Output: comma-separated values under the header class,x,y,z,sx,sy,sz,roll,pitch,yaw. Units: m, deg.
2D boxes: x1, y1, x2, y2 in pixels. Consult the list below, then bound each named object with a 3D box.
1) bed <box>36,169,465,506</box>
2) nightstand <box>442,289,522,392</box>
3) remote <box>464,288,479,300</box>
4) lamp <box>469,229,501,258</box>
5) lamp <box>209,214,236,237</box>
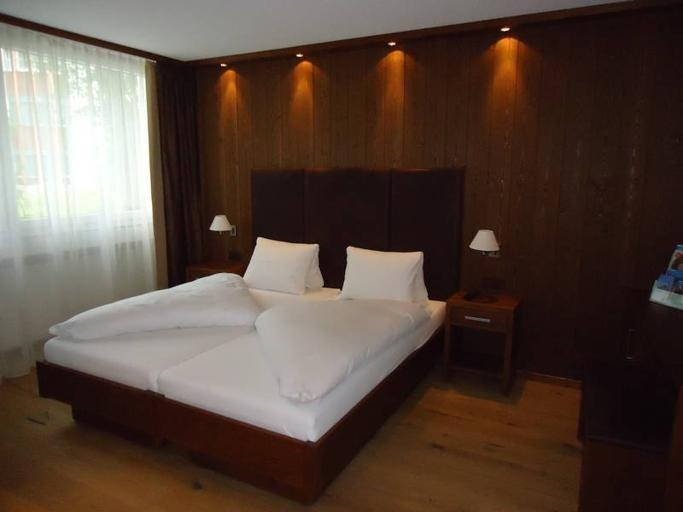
class,x,y,z,sx,sy,sz,roll,pitch,yaw
bed,-0.394,0.298,4.057,2.003,1.909,2.634,6,13,31
nightstand,1.212,0.598,4.453,0.555,0.842,0.508,6,34,21
remote,1.104,0.323,4.289,0.070,0.039,0.148,4,10,24
lamp,1.232,-0.119,4.273,0.242,0.224,0.244,2,9,-29
lamp,-1.288,-0.333,5.415,0.233,0.196,0.250,5,8,13
